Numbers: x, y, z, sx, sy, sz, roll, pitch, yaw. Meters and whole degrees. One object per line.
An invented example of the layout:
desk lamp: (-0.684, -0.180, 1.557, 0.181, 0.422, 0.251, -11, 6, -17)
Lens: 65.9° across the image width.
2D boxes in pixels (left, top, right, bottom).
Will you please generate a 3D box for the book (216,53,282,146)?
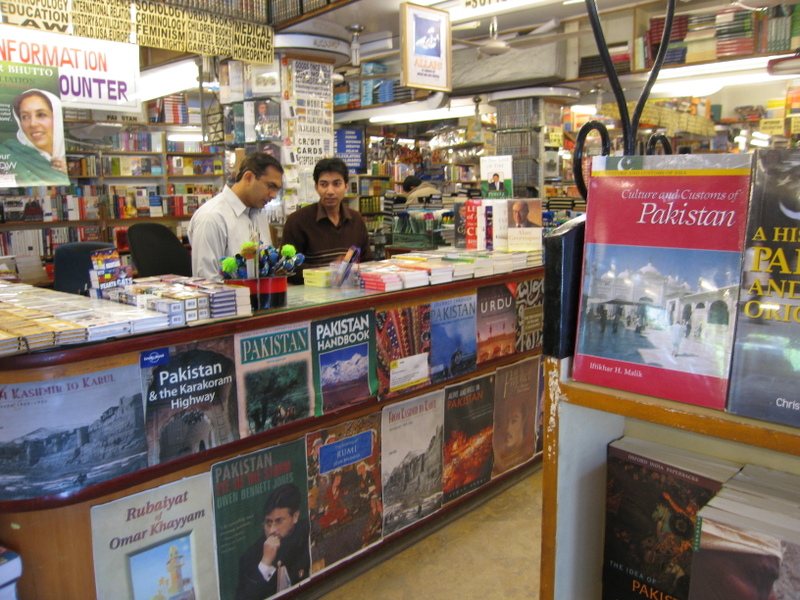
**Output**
book: (-1.575, -2.120, 6.593, 0.449, 0.843, 0.819, -9, 17, -40)

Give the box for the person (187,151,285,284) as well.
person: (-1.056, -0.554, 3.975, 0.574, 0.733, 0.440, -5, 15, -20)

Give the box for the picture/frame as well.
picture/frame: (0.193, -2.100, 5.215, 0.237, 0.659, 0.618, 9, 16, 33)
